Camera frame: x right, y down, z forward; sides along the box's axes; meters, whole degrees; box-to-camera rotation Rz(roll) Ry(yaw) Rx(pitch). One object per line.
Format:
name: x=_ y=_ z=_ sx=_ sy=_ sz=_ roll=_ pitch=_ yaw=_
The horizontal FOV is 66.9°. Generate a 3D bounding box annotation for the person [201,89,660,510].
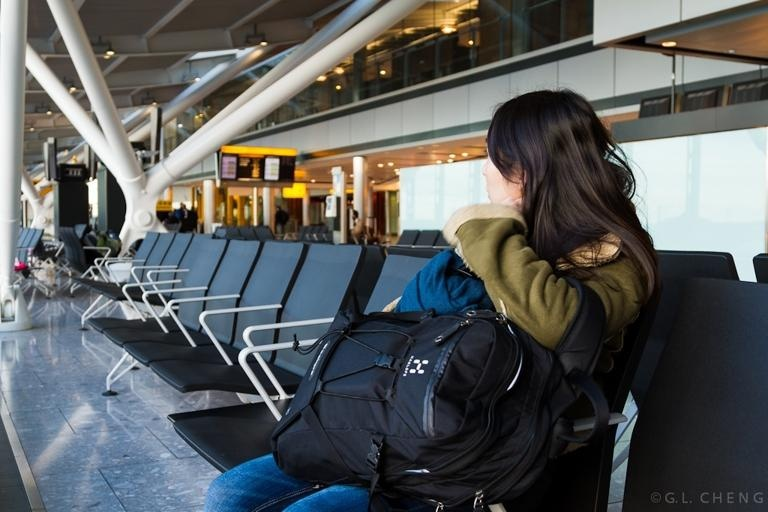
person: x=0.041 y=0.194 z=2.398 sx=1.465 sy=1.595 sz=1.167 roll=3 pitch=-2 yaw=-1

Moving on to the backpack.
backpack: x=0.148 y=0.482 z=1.672 sx=0.656 sy=0.673 sz=0.264 roll=0 pitch=-44 yaw=33
